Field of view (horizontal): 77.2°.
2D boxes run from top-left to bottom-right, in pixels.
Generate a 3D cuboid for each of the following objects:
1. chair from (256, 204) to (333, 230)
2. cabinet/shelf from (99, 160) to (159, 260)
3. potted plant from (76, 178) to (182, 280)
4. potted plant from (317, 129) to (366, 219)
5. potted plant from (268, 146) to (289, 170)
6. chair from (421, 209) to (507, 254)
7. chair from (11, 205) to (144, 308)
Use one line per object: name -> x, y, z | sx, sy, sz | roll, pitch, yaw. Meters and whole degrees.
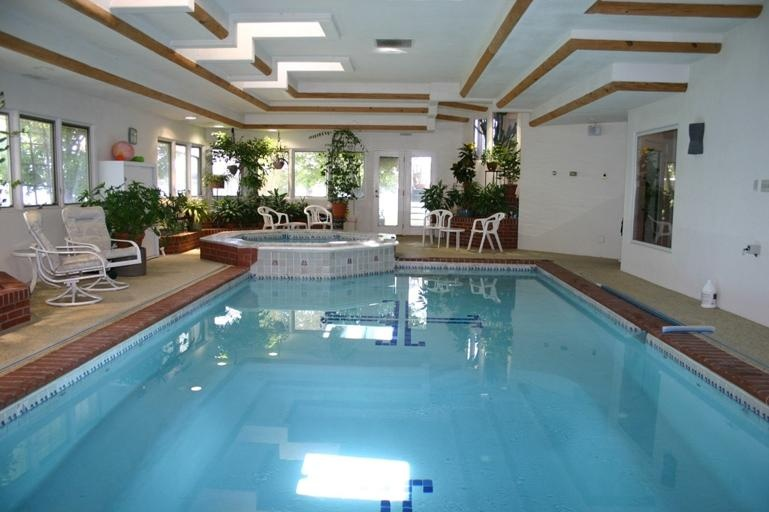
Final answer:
chair -> -2.496, -1.046, 13.855 | 2.411, 0.807, 1.780 | -2, 6, -5
cabinet/shelf -> -4.992, -1.274, 9.898 | 0.747, 2.796, 1.562 | 1, 6, 3
potted plant -> -5.319, -0.300, 9.263 | 2.230, 2.237, 1.654 | 0, 6, 5
potted plant -> -1.314, -2.487, 15.178 | 1.291, 2.930, 1.299 | 0, 13, -4
potted plant -> -3.389, -3.129, 15.285 | 0.679, 0.929, 0.723 | 0, 0, -23
chair -> 2.205, -0.765, 13.046 | 2.394, 1.245, 1.609 | 0, 8, 17
chair -> -4.849, -0.012, 7.273 | 1.831, 1.510, 1.359 | 4, 12, -6
